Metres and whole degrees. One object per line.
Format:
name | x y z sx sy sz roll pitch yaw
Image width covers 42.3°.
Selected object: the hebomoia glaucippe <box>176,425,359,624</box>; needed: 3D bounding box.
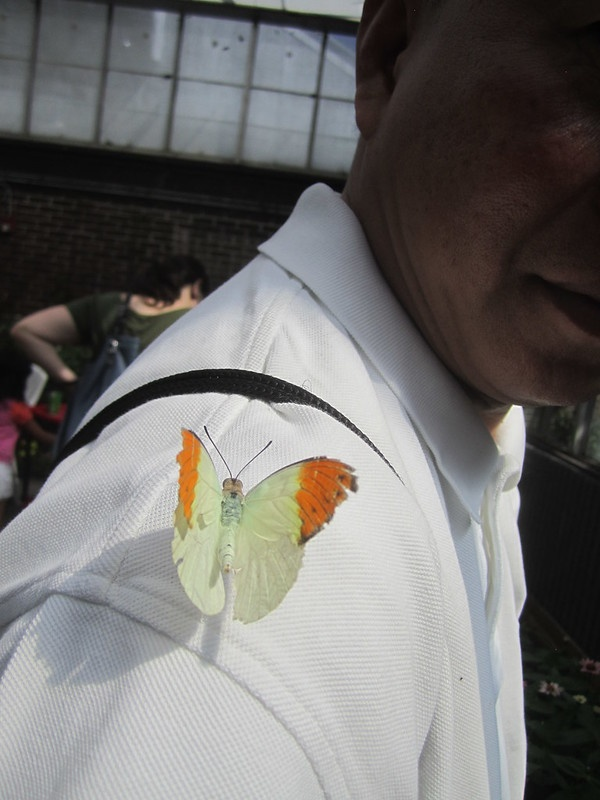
hebomoia glaucippe | -0.029 0.078 0.457 0.112 0.066 0.103 14 82 -6
